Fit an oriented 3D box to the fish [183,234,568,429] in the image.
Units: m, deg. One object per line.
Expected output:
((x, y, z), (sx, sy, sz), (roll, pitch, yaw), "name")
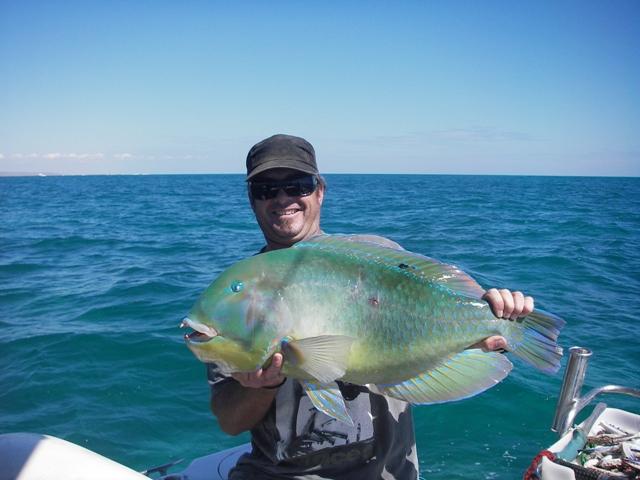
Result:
((0.323, 0.582, 3.468), (2.395, 1.087, 0.653), (-2, 16, -11), "fish")
